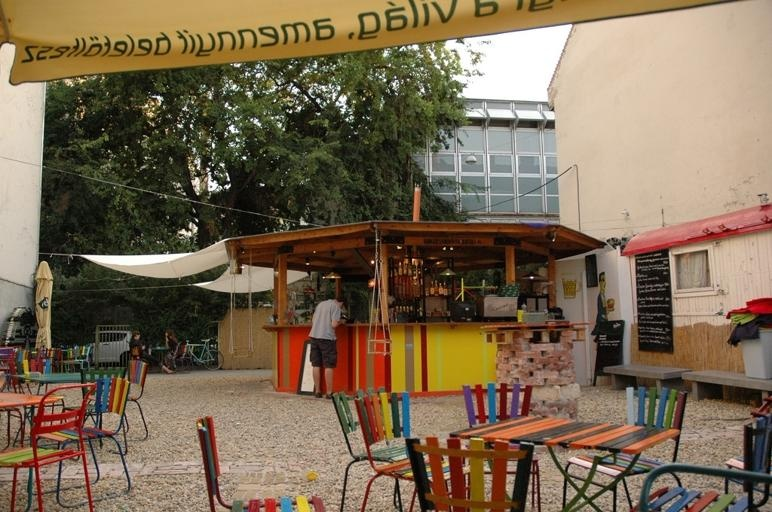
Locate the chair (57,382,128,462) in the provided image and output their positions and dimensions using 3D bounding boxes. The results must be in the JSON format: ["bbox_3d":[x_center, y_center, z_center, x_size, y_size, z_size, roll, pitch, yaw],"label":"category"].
[{"bbox_3d":[-3.282,1.914,7.681,0.759,1.003,0.783,0,-4,6],"label":"chair"}]

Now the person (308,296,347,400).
[{"bbox_3d":[-1.091,1.707,12.810,0.643,1.875,0.778,1,-5,-7],"label":"person"}]

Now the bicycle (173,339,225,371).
[{"bbox_3d":[-5.831,3.055,21.359,1.500,0.922,0.735,6,-10,-30],"label":"bicycle"}]

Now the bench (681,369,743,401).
[{"bbox_3d":[5.409,2.163,11.333,0.595,0.464,1.252,1,-6,-9],"label":"bench"}]

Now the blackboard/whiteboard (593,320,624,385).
[{"bbox_3d":[4.534,2.009,13.986,0.149,1.401,0.657,19,-16,-27],"label":"blackboard/whiteboard"}]

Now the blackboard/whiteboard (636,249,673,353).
[{"bbox_3d":[5.195,0.898,13.363,0.145,1.956,0.935,1,-5,-15],"label":"blackboard/whiteboard"}]

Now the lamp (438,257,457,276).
[{"bbox_3d":[1.529,0.292,16.996,0.437,0.418,0.442,0,-10,0],"label":"lamp"}]

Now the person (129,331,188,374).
[{"bbox_3d":[-6.662,2.807,19.961,1.396,1.177,3.776,2,-6,-18],"label":"person"}]

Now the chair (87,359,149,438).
[{"bbox_3d":[-3.441,1.899,9.031,0.558,0.839,0.587,-9,-12,21],"label":"chair"}]
